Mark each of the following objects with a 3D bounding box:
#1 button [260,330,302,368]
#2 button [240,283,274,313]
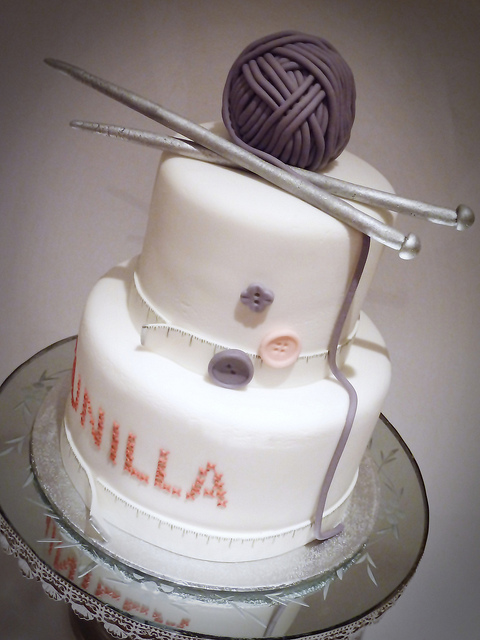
[{"bbox_3d":[0.078,0.059,1.299,0.085,0.072,0.021,-9,33,-15],"label":"button"},{"bbox_3d":[0.027,-0.042,1.239,0.057,0.047,0.014,5,26,8],"label":"button"}]
